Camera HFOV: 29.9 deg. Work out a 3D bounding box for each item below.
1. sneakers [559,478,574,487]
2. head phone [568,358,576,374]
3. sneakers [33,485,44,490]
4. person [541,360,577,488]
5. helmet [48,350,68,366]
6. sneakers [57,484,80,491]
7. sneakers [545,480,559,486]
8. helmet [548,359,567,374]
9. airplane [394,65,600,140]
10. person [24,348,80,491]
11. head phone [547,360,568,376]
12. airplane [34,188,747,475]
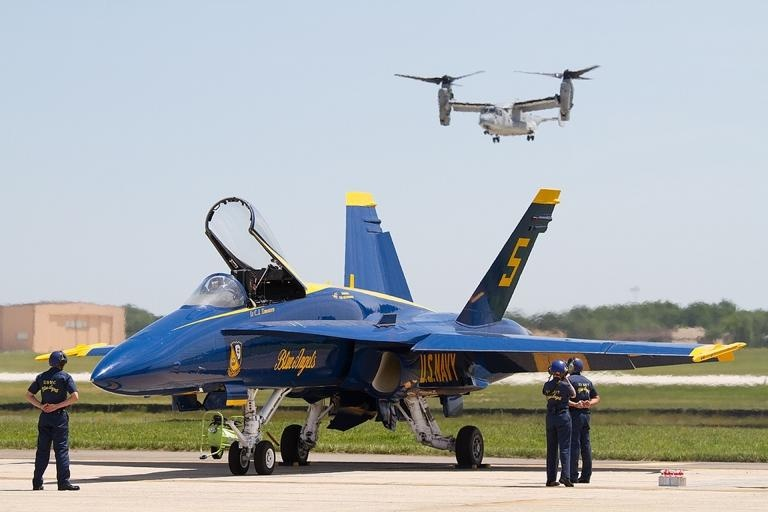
[{"bbox_3d":[3.288,4.001,25.791,0.239,0.157,0.168,0,-5,5],"label":"sneakers"},{"bbox_3d":[3.479,2.016,26.545,0.211,0.232,0.235,-4,39,13],"label":"head phone"},{"bbox_3d":[-5.950,3.991,24.986,0.178,0.072,0.198,1,-5,-14],"label":"sneakers"},{"bbox_3d":[3.185,2.989,25.926,0.552,2.198,0.371,-1,-5,5],"label":"person"},{"bbox_3d":[-5.674,1.791,25.332,0.293,0.241,0.288,5,14,9],"label":"helmet"},{"bbox_3d":[-5.419,3.988,25.010,0.396,0.140,0.123,-3,7,-5],"label":"sneakers"},{"bbox_3d":[3.043,4.030,25.794,0.082,0.098,0.244,2,7,40],"label":"sneakers"},{"bbox_3d":[3.144,2.035,26.269,0.300,0.302,0.370,6,12,19],"label":"helmet"},{"bbox_3d":[4.564,-5.376,52.058,4.462,2.426,3.014,1,-5,-15],"label":"airplane"},{"bbox_3d":[-5.746,2.845,25.229,0.885,2.409,0.654,1,-5,-12],"label":"person"},{"bbox_3d":[3.180,2.037,26.251,0.294,0.301,0.316,11,41,9],"label":"head phone"},{"bbox_3d":[-0.595,1.340,28.819,10.161,5.729,3.914,1,-5,-15],"label":"airplane"}]
